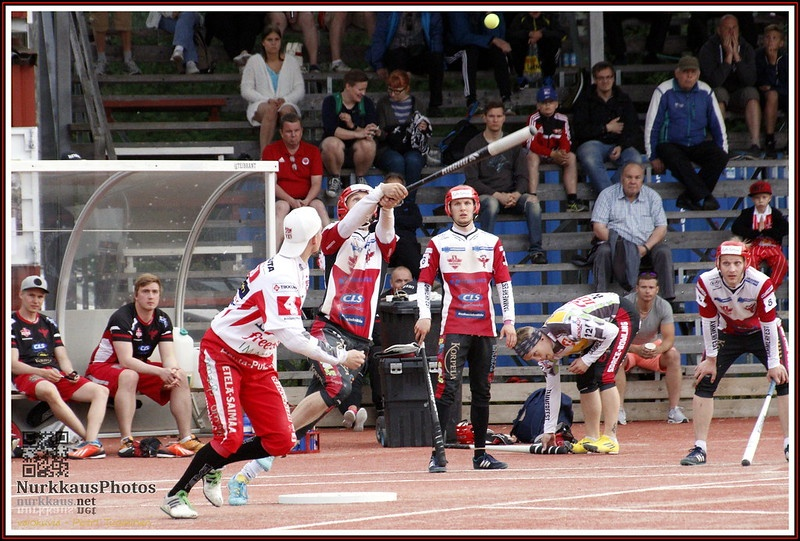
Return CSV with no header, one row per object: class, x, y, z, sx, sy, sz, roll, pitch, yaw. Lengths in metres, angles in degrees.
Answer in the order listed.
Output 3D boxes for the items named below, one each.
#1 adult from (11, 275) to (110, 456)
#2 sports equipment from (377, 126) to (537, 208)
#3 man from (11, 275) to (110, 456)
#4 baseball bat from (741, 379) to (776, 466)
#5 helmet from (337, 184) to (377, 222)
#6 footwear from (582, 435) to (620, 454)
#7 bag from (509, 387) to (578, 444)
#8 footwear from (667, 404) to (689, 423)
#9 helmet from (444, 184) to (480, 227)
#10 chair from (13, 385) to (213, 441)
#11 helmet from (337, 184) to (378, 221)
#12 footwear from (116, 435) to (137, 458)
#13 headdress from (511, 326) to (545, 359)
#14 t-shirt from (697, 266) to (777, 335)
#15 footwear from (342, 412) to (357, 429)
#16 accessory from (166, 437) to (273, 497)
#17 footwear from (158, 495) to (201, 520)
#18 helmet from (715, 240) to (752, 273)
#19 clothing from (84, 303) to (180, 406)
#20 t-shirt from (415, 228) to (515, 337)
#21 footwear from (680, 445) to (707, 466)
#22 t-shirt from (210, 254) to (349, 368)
adult,-4.550,1.267,25.168,1.180,2.370,0.727,-1,3,11
sports equipment,0.832,-1.489,27.500,0.416,0.398,2.963,19,-35,-42
man,-4.548,1.267,25.161,1.189,2.370,0.727,-1,3,9
baseball bat,4.688,1.879,24.604,0.196,0.144,1.868,-1,32,25
helmet,-0.497,-0.890,24.782,0.440,0.507,0.497,2,3,-18
footwear,2.668,2.296,25.096,0.443,0.188,0.220,3,-6,4
bag,1.935,1.979,25.887,0.707,0.419,0.766,-12,23,30
footwear,4.053,2.122,27.795,0.165,0.158,0.372,2,-7,-19
helmet,0.781,-0.820,24.141,0.455,0.427,0.495,-13,-17,26
chair,-3.937,2.279,26.601,2.562,0.703,0.948,-11,14,6
helmet,-0.535,-0.863,24.774,0.441,0.507,0.495,2,3,-16
footwear,-3.600,2.320,25.152,0.265,0.254,0.262,-1,2,1
headdress,1.663,0.884,24.679,0.335,0.244,0.437,-38,4,31
t-shirt,4.329,0.399,24.449,1.003,0.505,0.951,2,-30,21
footwear,-0.695,2.004,25.509,0.127,0.126,0.299,7,-39,-1
accessory,-2.135,2.276,22.242,1.216,0.653,0.195,-2,3,-15
footwear,-2.543,2.733,22.006,0.434,0.181,0.231,-10,-6,44
helmet,4.282,-0.217,24.429,0.392,0.290,0.404,0,-15,18
clothing,-3.625,1.099,25.722,1.217,1.286,1.106,4,5,-6
t-shirt,0.789,0.126,24.263,1.328,1.344,0.516,-1,6,-21
footwear,3.719,2.335,24.114,0.321,0.225,0.332,-1,2,9
t-shirt,-1.321,0.576,22.433,1.384,1.075,1.537,23,11,-22
